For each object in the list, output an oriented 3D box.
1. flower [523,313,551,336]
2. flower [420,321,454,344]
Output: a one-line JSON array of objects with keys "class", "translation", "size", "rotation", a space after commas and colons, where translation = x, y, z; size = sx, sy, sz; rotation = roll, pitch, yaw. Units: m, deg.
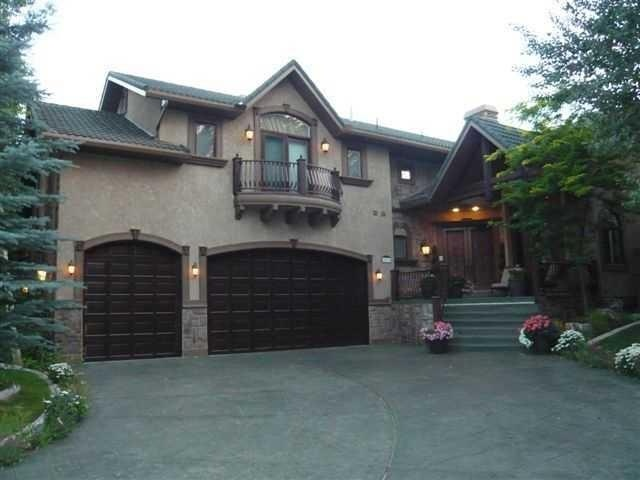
[{"class": "flower", "translation": [6.511, 2.512, 14.620], "size": [0.684, 0.356, 0.530], "rotation": [-9, 2, -6]}, {"class": "flower", "translation": [3.702, 2.956, 15.800], "size": [0.801, 0.524, 0.922], "rotation": [3, -8, -15]}]
